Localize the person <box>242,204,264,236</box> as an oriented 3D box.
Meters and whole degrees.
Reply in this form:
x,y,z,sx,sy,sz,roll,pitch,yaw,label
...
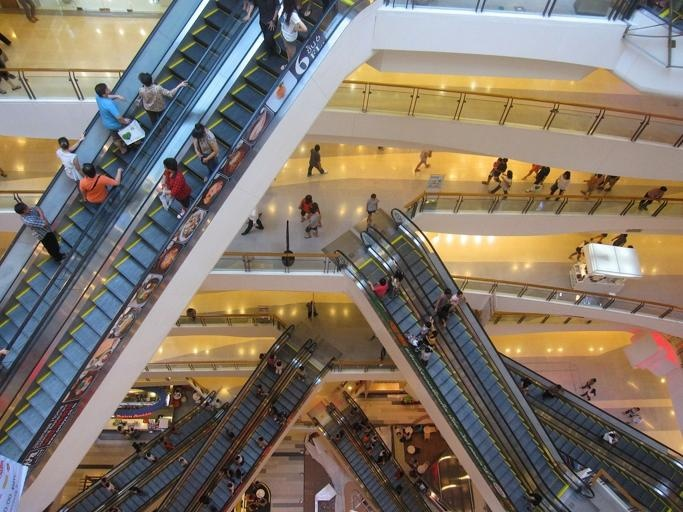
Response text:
x,y,z,sx,sy,sz,roll,pitch,yaw,label
-2.611,-1.105,19.848,0.611,0.945,0.919,8,-9,-13,person

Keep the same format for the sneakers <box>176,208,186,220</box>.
x,y,z,sx,sy,sz,roll,pitch,yaw,label
-3.613,-0.977,14.732,0.126,0.210,0.342,24,-32,-29,sneakers

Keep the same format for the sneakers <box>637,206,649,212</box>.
x,y,z,sx,sy,sz,roll,pitch,yaw,label
9.410,-1.486,20.190,0.279,0.285,0.132,1,3,-31,sneakers

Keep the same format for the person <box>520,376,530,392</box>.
x,y,z,sx,sy,sz,roll,pitch,yaw,label
5.949,4.110,20.876,0.353,0.488,1.279,3,-9,17,person

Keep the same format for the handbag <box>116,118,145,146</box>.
x,y,z,sx,sy,sz,roll,pitch,yaw,label
-4.829,-2.834,15.010,0.602,0.526,0.212,-28,5,-7,handbag

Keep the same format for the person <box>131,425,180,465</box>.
x,y,z,sx,sy,sz,roll,pitch,yaw,label
-6.307,6.480,22.351,0.386,0.958,1.354,39,-24,7,person

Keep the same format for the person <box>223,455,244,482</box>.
x,y,z,sx,sy,sz,roll,pitch,yaw,label
-3.359,6.632,20.523,0.629,0.787,0.367,8,-9,-9,person

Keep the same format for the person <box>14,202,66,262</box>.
x,y,z,sx,sy,sz,roll,pitch,yaw,label
-6.941,-0.544,15.070,0.543,0.449,1.530,41,-10,35,person

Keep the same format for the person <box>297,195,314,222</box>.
x,y,z,sx,sy,sz,roll,pitch,yaw,label
-1.073,-1.496,19.802,0.351,0.677,1.296,7,-9,-7,person

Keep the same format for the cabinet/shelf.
x,y,z,sx,sy,sz,roll,pitch,yaw,label
8.385,0.345,20.577,2.011,1.432,1.161,2,-10,22,cabinet/shelf

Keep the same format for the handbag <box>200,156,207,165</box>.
x,y,z,sx,sy,sz,roll,pitch,yaw,label
-3.043,-2.134,14.371,0.162,0.115,0.042,46,19,31,handbag

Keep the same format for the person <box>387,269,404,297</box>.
x,y,z,sx,sy,sz,roll,pitch,yaw,label
1.595,0.721,18.777,0.427,0.829,0.641,5,-9,5,person

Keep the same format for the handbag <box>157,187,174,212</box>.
x,y,z,sx,sy,sz,roll,pitch,yaw,label
-3.863,-1.266,14.321,0.317,0.140,0.436,-1,-45,15,handbag

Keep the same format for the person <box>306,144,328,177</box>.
x,y,z,sx,sy,sz,roll,pitch,yaw,label
-0.728,-3.190,20.980,0.599,1.143,1.539,7,-9,-4,person

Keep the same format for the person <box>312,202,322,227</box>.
x,y,z,sx,sy,sz,roll,pitch,yaw,label
-0.717,-1.314,19.807,0.329,0.765,1.192,6,-9,-1,person
